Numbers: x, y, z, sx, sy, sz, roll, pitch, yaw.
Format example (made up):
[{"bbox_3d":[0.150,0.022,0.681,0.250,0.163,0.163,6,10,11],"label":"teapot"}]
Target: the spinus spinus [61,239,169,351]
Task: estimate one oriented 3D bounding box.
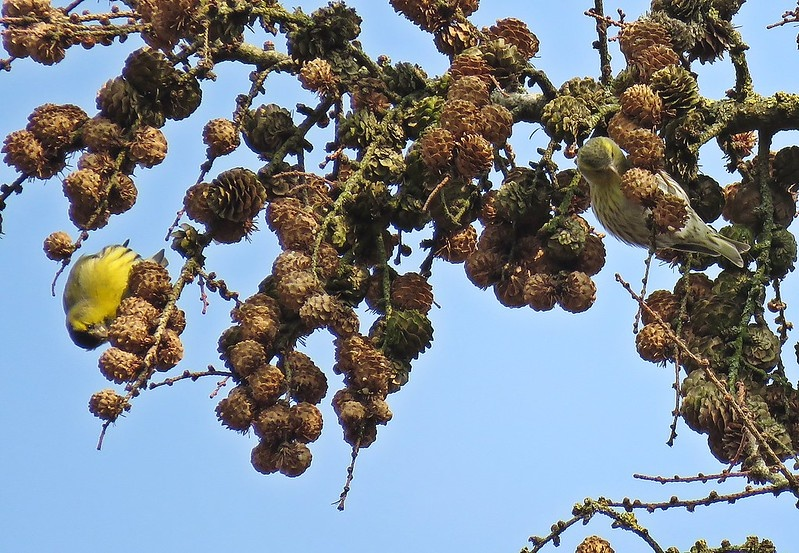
[{"bbox_3d":[-1.257,0.118,7.845,0.272,0.406,0.259,13,-39,14],"label":"spinus spinus"}]
